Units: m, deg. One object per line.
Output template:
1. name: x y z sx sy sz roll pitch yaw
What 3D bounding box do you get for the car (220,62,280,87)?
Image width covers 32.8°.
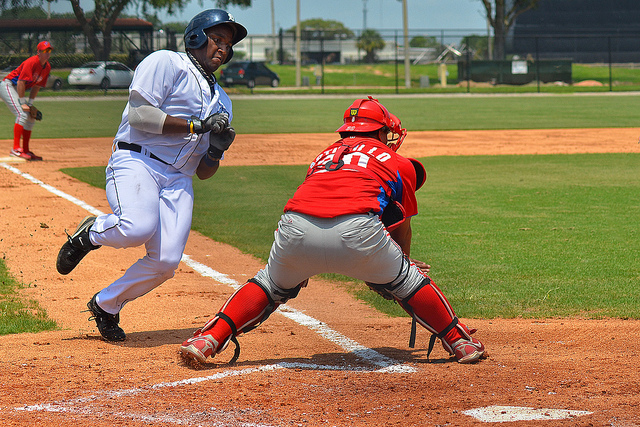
1. car: -3.539 -6.984 55.342 1.352 0.834 2.925 5 13 29

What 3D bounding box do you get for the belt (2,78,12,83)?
1. belt: -6.356 -2.630 21.922 0.205 0.088 0.110 4 9 22

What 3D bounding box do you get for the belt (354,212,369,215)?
1. belt: 0.567 0.012 13.784 0.142 0.025 0.010 -2 9 -13
